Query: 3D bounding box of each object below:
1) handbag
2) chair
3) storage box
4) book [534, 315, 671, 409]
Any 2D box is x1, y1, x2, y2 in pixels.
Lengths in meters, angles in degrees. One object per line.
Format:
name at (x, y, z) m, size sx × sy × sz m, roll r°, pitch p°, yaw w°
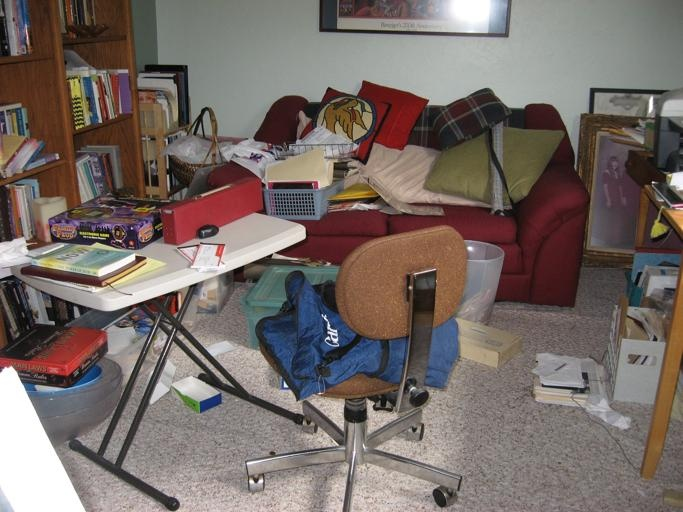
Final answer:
handbag at (0.069, 0.269, 1.798) m, size 0.515 × 0.158 × 0.489 m, roll -1°, pitch 19°, yaw -7°
chair at (0.058, 0.448, 1.966) m, size 0.708 × 0.901 × 0.671 m, roll -12°, pitch 38°, yaw -22°
storage box at (-0.321, 0.193, 2.876) m, size 0.412 × 0.162 × 0.456 m, roll -1°, pitch 22°, yaw 3°
book at (1.253, 0.467, 2.597) m, size 0.344 × 0.425 × 0.608 m, roll 5°, pitch 21°, yaw 16°
